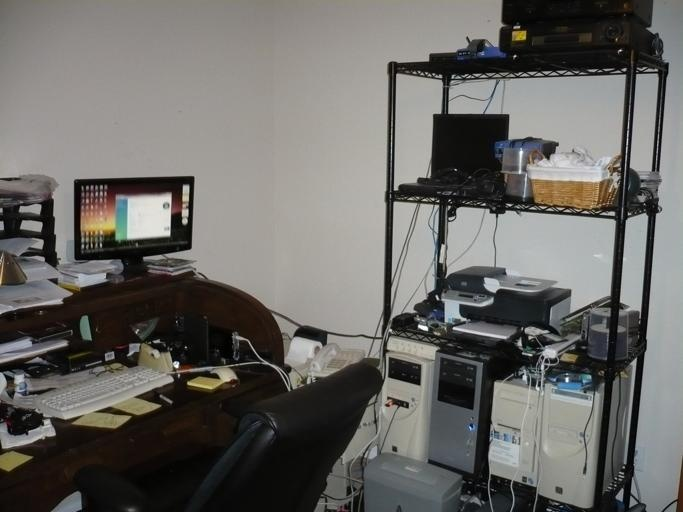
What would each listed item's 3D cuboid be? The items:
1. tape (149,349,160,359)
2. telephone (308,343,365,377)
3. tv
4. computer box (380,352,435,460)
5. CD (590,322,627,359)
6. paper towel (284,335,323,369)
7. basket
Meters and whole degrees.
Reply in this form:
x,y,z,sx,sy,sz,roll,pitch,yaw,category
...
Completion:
x,y,z,sx,sy,sz,roll,pitch,yaw,category
-0.797,0.416,2.381,0.036,0.014,0.028,31,34,30,tape
-0.032,0.512,2.728,0.248,0.088,0.188,2,12,15,telephone
-0.978,-0.144,2.574,0.430,0.323,0.115,-7,14,-40,tv
0.337,0.739,2.650,0.276,0.479,0.283,4,-3,20,computer box
1.106,0.342,2.343,0.137,0.148,0.139,16,24,40,CD
-0.206,0.486,2.846,0.147,0.126,0.138,20,31,22,paper towel
0.915,-0.299,2.177,0.225,0.152,0.302,7,10,33,basket
